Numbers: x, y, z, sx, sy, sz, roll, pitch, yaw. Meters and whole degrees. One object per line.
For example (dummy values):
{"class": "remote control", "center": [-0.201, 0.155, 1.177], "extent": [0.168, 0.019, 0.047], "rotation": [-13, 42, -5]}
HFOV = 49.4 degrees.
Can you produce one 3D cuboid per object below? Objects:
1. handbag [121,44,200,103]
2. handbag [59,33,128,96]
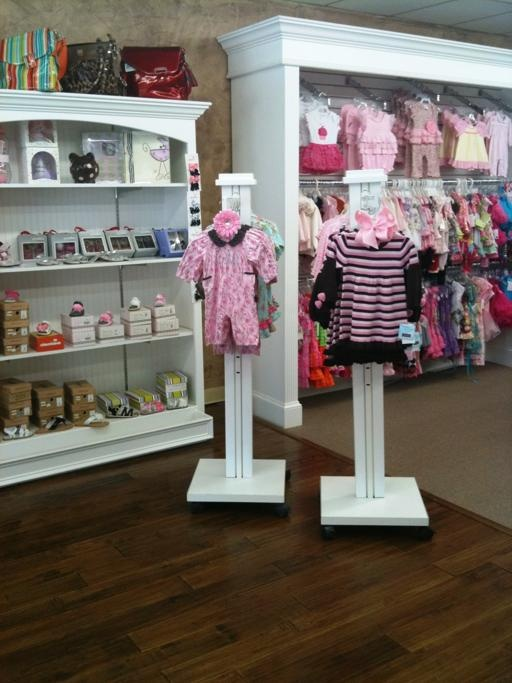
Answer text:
{"class": "handbag", "center": [-0.600, -1.667, 3.444], "extent": [0.472, 0.294, 0.451], "rotation": [6, 35, -7]}
{"class": "handbag", "center": [-0.951, -1.555, 3.168], "extent": [0.303, 0.297, 0.117], "rotation": [-4, 8, -18]}
